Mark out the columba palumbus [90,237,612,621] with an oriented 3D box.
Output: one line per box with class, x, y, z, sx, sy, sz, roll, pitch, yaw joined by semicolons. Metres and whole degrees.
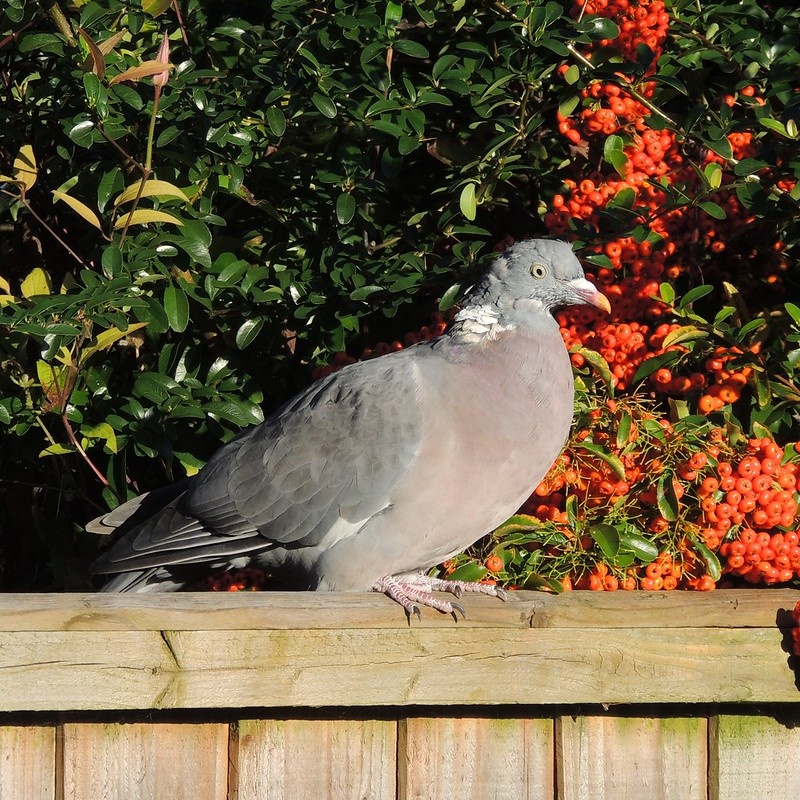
columba palumbus;-0.092;0.078;3.650;1.173;0.575;0.334;-3;-14;7
